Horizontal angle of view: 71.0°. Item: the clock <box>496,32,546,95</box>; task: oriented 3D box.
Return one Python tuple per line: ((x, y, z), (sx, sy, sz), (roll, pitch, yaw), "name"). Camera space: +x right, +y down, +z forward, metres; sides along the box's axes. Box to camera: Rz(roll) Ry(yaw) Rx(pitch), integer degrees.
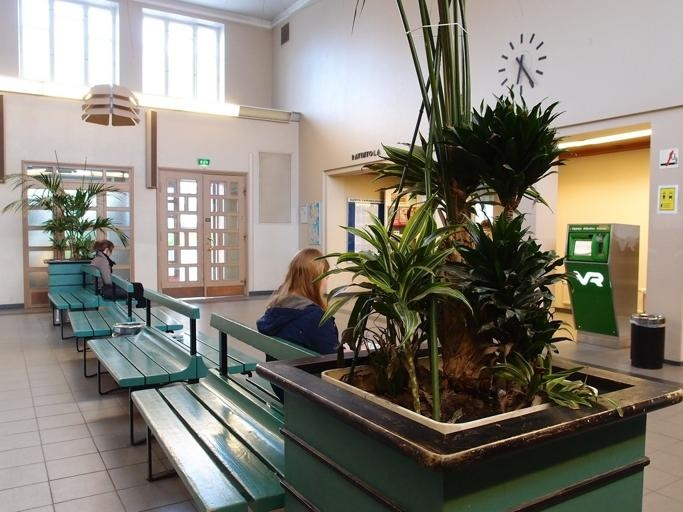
((2.512, -2.664, 6.679), (0.067, 0.849, 0.848), (-6, 9, -28), "clock")
